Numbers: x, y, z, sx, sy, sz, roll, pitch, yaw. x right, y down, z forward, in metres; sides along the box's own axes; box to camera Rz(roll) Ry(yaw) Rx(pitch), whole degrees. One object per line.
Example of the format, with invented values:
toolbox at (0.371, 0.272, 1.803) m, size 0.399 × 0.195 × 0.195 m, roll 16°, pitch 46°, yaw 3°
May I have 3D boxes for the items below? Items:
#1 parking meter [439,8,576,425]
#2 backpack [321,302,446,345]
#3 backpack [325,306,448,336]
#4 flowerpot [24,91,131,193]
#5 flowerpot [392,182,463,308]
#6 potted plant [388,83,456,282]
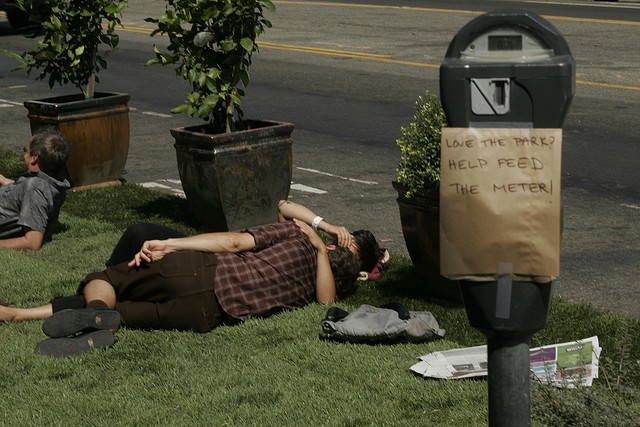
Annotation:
parking meter at (0.848, 0.105, 3.068) m, size 0.607 × 2.180 × 0.403 m, roll 6°, pitch 13°, yaw 16°
backpack at (0.505, 0.899, 5.025) m, size 0.992 × 0.226 × 0.380 m, roll 2°, pitch 12°, yaw -2°
backpack at (0.523, 0.870, 5.019) m, size 0.959 × 0.155 × 0.380 m, roll 2°, pitch 12°, yaw -1°
flowerpot at (-3.376, -1.022, 8.720) m, size 1.619 × 1.540 × 1.207 m, roll -5°, pitch 8°, yaw -17°
flowerpot at (0.944, 0.251, 5.879) m, size 0.988 × 0.965 × 1.006 m, roll 5°, pitch 9°, yaw 43°
potted plant at (0.797, -0.217, 5.554) m, size 0.643 × 1.361 × 0.672 m, roll -13°, pitch 4°, yaw 5°
